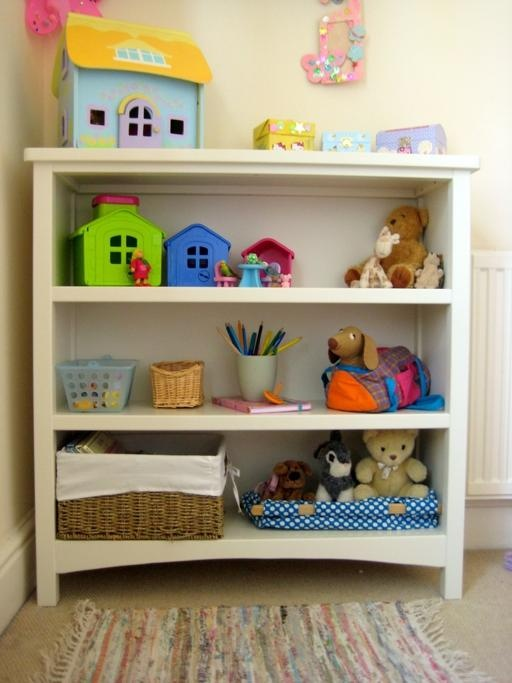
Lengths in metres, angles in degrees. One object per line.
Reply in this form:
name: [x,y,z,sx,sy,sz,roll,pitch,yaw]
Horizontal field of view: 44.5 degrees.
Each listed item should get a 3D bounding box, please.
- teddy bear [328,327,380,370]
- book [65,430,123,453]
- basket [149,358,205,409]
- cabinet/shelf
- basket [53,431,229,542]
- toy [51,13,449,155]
teddy bear: [0.251,0.026,1.689,0.138,0.091,0.101,15,-14,-43]
book: [-0.433,0.265,1.651,0.098,0.038,0.127,2,-3,-7]
basket: [-0.207,0.108,1.633,0.134,0.101,0.125,-1,0,-7]
cabinet/shelf: [-0.034,0.099,1.630,1.281,1.123,0.377,0,-1,-7]
basket: [-0.291,0.364,1.653,0.427,0.224,0.358,1,3,-3]
toy: [-0.017,-0.596,1.760,1.178,0.388,0.407,-2,8,-14]
